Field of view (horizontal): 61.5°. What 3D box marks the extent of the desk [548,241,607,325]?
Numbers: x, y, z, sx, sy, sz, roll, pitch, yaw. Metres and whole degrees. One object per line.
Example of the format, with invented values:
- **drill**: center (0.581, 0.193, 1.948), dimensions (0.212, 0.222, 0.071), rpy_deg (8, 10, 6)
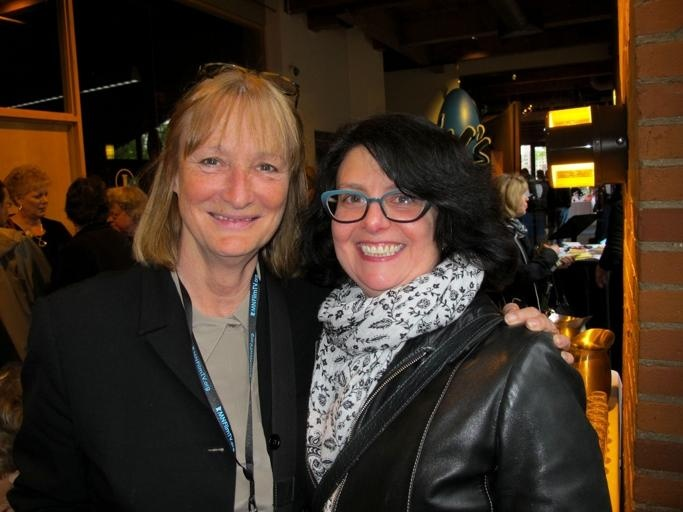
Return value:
- **desk**: center (2.404, 0.249, 5.926), dimensions (0.676, 0.589, 0.609), rpy_deg (-18, 22, -39)
